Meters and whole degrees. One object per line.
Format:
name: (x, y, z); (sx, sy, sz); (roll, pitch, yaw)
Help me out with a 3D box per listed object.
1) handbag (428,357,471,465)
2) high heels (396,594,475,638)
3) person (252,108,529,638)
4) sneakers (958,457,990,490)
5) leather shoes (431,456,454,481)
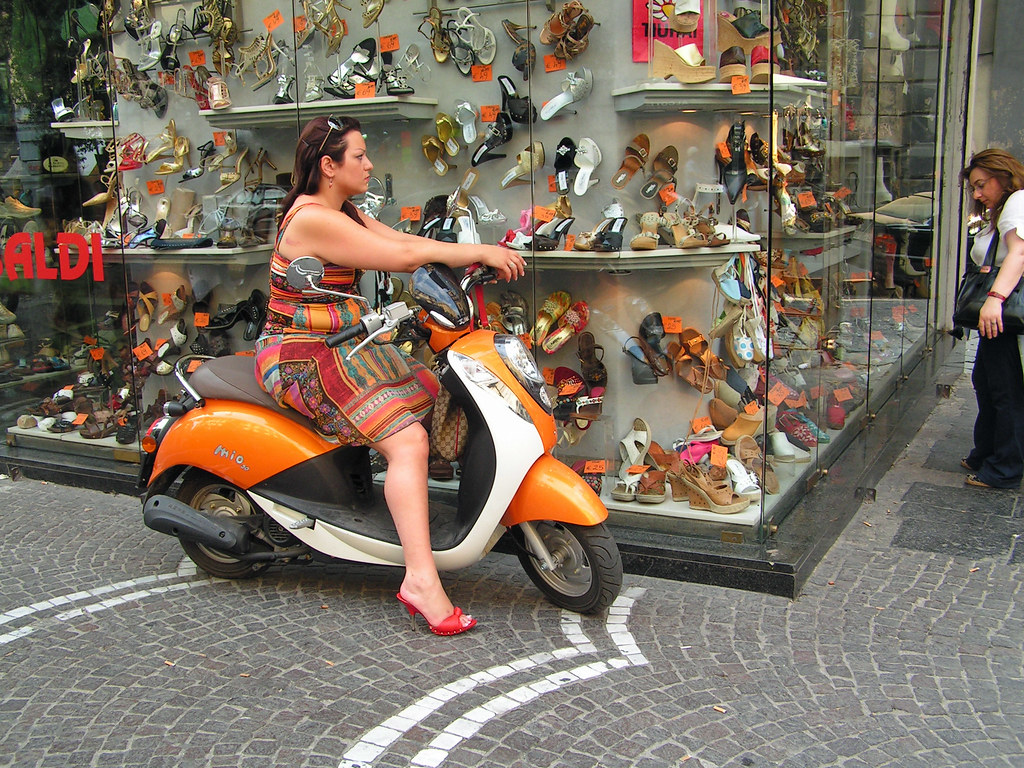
handbag: (-0.261, 0.122, 3.443); (0.189, 0.398, 0.242); (5, -33, 0)
high heels: (-0.332, 0.925, 3.330); (0.337, 0.075, 0.146); (18, 18, 25)
person: (-0.562, -0.064, 3.417); (0.728, 2.065, 1.058); (-15, 19, -42)
sneakers: (2.820, 0.561, 5.011); (0.090, 0.091, 0.258); (-9, 6, -1)
leather shoes: (-0.297, 0.370, 3.483); (0.137, 0.072, 0.067); (1, 17, 11)
